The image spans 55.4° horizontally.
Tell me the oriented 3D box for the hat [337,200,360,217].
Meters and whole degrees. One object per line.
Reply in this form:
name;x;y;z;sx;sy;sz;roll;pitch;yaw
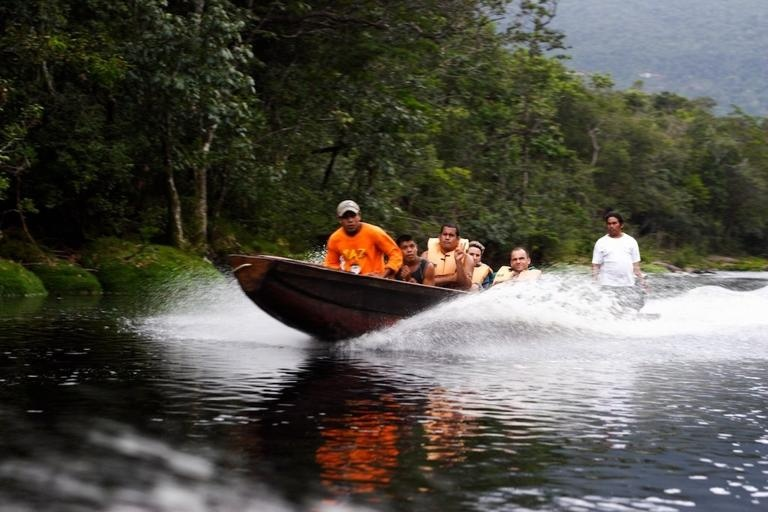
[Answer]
hat;-0.559;-0.744;11.162;0.496;0.172;0.471;-3;-7;-1

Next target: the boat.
boat;-1.054;0.664;11.559;3.936;0.676;1.400;10;2;-16

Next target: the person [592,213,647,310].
person;4.106;0.105;12.722;0.963;1.757;0.613;-8;15;-43

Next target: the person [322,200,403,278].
person;-0.322;-0.152;11.267;1.179;0.976;0.427;1;11;-2
